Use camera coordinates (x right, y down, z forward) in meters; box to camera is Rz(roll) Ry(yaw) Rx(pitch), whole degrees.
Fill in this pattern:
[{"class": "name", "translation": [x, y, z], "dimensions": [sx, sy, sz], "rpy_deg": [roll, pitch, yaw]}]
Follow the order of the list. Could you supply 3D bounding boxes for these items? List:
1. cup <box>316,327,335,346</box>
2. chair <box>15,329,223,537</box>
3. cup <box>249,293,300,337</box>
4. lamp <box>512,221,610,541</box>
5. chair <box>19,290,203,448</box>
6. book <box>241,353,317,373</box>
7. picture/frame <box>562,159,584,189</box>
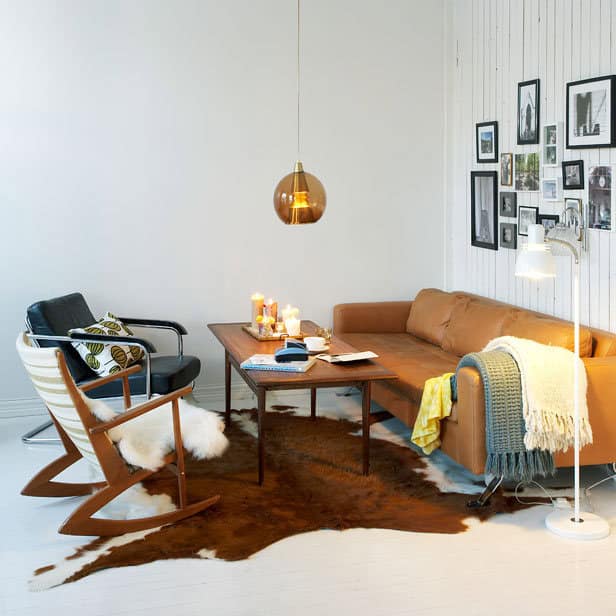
[{"class": "cup", "translation": [0.113, 0.189, 3.458], "dimensions": [0.101, 0.064, 0.153], "rpy_deg": [0, -2, 13]}, {"class": "chair", "translation": [-0.913, 0.530, 2.625], "dimensions": [0.961, 1.043, 0.783], "rpy_deg": [-6, 10, -31]}, {"class": "cup", "translation": [-0.229, 0.024, 3.534], "dimensions": [0.268, 0.221, 0.309], "rpy_deg": [-2, 9, -14]}, {"class": "lamp", "translation": [1.202, 0.276, 2.535], "dimensions": [0.388, 1.306, 0.960], "rpy_deg": [1, 5, 21]}, {"class": "chair", "translation": [-1.285, 0.362, 3.711], "dimensions": [1.168, 0.997, 0.907], "rpy_deg": [-1, 6, -5]}, {"class": "book", "translation": [-0.158, 0.294, 2.817], "dimensions": [0.374, 0.051, 0.279], "rpy_deg": [0, 4, 9]}, {"class": "picture/frame", "translation": [1.596, -0.806, 3.165], "dimensions": [0.019, 0.198, 0.195], "rpy_deg": [-2, 5, -18]}]
